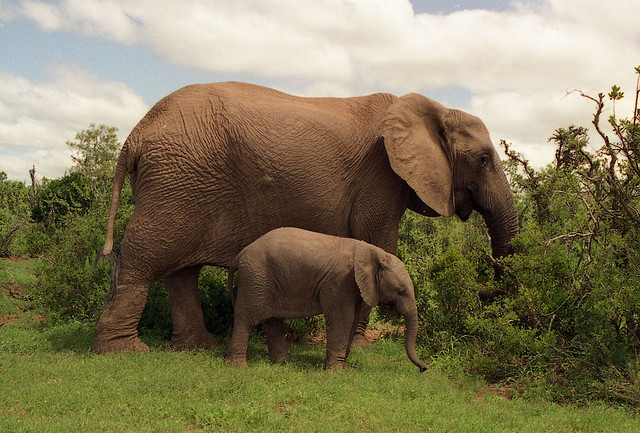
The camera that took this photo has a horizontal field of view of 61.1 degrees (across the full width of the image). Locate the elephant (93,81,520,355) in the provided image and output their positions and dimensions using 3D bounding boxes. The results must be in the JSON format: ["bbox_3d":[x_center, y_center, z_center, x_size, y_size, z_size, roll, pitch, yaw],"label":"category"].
[{"bbox_3d":[0.142,0.146,12.017,9.524,5.959,3.735,0,6,-15],"label":"elephant"}]
